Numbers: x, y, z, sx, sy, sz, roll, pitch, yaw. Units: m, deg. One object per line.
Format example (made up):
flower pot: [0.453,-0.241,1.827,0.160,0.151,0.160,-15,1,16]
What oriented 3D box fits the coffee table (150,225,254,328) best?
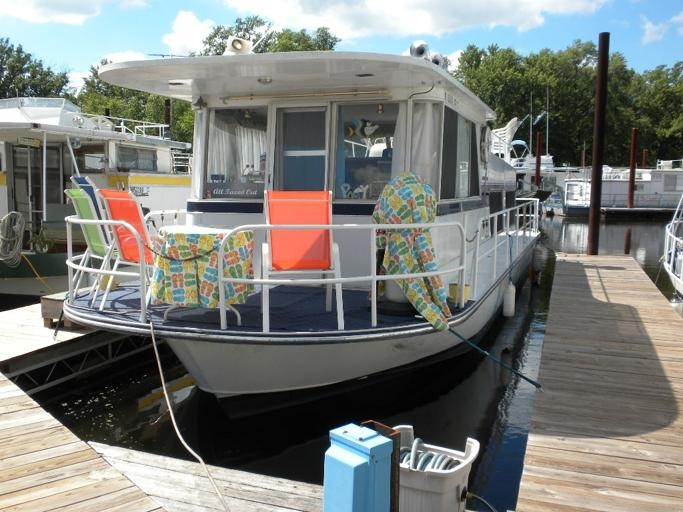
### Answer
coffee table: [-1.312,0.122,6.205,0.819,0.696,0.869,4,5,22]

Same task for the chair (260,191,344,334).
chair: [-0.407,-0.013,6.445,0.765,1.320,1.700,-1,15,-6]

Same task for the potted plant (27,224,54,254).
potted plant: [-5.270,-0.329,11.214,0.388,0.584,1.282,-7,17,-27]
